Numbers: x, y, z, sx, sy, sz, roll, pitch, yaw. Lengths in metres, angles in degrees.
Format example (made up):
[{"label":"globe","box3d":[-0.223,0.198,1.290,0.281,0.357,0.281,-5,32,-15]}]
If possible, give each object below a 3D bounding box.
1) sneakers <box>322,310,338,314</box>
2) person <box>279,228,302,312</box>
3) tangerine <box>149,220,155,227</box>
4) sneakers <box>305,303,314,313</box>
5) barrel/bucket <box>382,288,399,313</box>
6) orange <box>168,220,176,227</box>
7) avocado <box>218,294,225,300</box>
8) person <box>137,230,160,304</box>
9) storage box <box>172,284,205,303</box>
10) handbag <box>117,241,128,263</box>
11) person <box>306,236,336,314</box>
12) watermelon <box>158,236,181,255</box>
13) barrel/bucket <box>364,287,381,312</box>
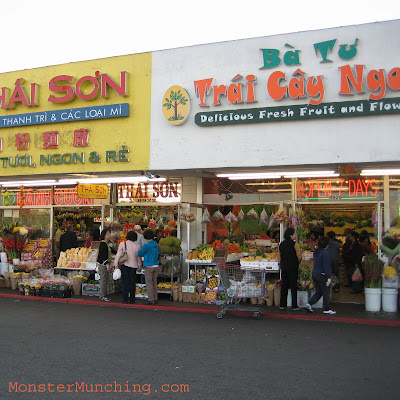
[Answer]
[{"label":"sneakers","box3d":[3.063,2.645,10.584,0.261,0.117,0.115,1,-4,-5]},{"label":"person","box3d":[2.233,1.746,11.419,0.558,2.038,0.422,-5,-6,27]},{"label":"tangerine","box3d":[-1.648,0.813,15.670,0.214,0.226,0.170,-4,-5,15]},{"label":"sneakers","box3d":[2.649,2.616,10.781,0.297,0.126,0.108,47,-13,-33]},{"label":"barrel/bucket","box3d":[4.530,2.400,10.776,0.366,0.570,0.279,-4,-5,21]},{"label":"orange","box3d":[-0.915,0.774,14.673,0.175,0.177,0.180,-11,-5,22]},{"label":"avocado","box3d":[0.585,2.673,12.368,0.171,0.179,0.084,-17,9,21]},{"label":"person","box3d":[-1.407,1.841,12.310,0.554,1.974,0.565,-2,-5,-7]},{"label":"storage box","box3d":[-0.361,2.698,12.646,0.683,0.349,0.493,1,-5,10]},{"label":"handbag","box3d":[-2.097,1.464,12.269,0.269,0.644,0.229,-1,-5,-13]},{"label":"person","box3d":[2.922,1.816,11.007,0.634,1.804,0.933,-4,-5,16]},{"label":"watermelon","box3d":[-0.884,1.380,13.478,0.675,0.545,0.518,-1,-5,-12]},{"label":"barrel/bucket","box3d":[4.177,2.405,10.861,0.387,0.565,0.360,-2,-5,0]}]
